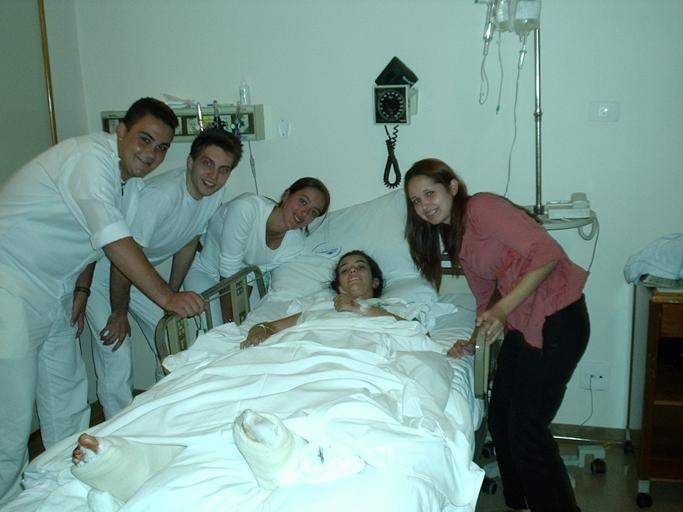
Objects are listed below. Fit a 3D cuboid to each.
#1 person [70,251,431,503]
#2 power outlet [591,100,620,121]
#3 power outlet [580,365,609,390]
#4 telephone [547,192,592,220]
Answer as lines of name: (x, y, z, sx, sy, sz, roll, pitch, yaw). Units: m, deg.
person: (-0.195, 0.474, 2.832, 0.932, 0.622, 1.743, 4, 13, 24)
power outlet: (1.451, -0.795, 3.544, 0.140, 0.109, 0.035, 6, 8, 12)
power outlet: (1.468, 0.714, 3.737, 0.132, 0.153, 0.033, 6, 8, 14)
telephone: (1.214, -0.252, 3.435, 0.205, 0.100, 0.156, 1, 15, 23)
